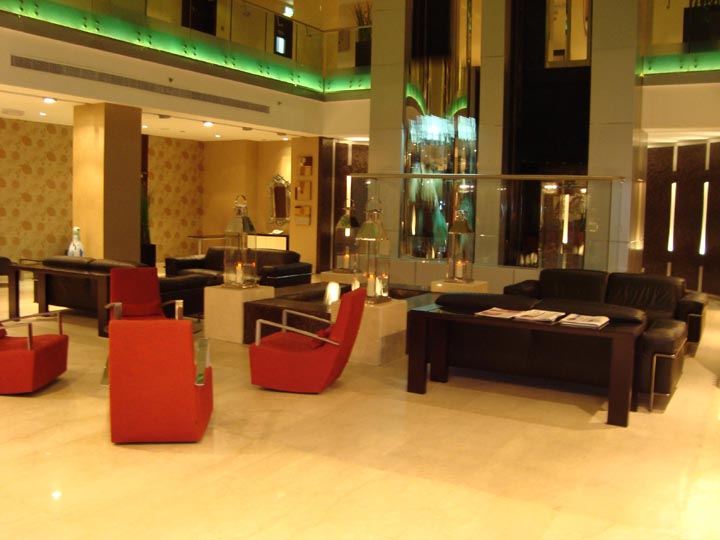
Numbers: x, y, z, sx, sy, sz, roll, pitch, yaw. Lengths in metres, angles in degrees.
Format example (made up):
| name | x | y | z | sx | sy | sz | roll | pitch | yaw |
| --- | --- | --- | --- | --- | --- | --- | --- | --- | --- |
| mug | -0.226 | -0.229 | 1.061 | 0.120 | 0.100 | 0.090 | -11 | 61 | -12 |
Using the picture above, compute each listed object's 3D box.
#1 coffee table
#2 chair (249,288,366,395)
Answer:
| name | x | y | z | sx | sy | sz | roll | pitch | yaw |
| --- | --- | --- | --- | --- | --- | --- | --- | --- | --- |
| coffee table | 1.507 | 0.852 | 5.596 | 2.133 | 0.912 | 0.785 | 6 | 10 | 28 |
| chair | -0.547 | 0.682 | 6.144 | 1.184 | 1.120 | 0.906 | 5 | 3 | 15 |
